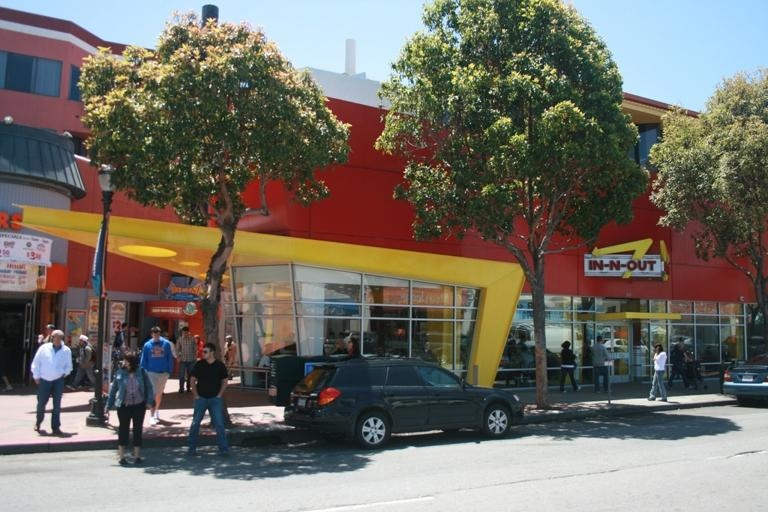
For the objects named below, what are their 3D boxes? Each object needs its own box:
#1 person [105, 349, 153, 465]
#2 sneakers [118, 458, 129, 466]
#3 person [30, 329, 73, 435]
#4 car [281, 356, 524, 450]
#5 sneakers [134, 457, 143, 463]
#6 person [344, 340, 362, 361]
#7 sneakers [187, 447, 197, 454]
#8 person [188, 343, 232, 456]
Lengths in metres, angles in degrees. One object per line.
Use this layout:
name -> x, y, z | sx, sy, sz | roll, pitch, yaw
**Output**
person -> -6.389, 3.869, 18.180 | 1.040, 2.719, 0.961 | 5, -10, -21
sneakers -> -6.356, 5.074, 17.654 | 0.224, 0.150, 0.379 | 5, -12, -23
person -> -9.322, 3.525, 20.188 | 1.004, 2.938, 1.219 | 5, -11, -24
car -> 0.712, 3.958, 21.068 | 6.046, 2.014, 2.520 | 0, -5, -23
sneakers -> -6.029, 5.096, 17.804 | 0.096, 0.105, 0.262 | 1, 1, -3
person -> -1.001, 3.131, 23.829 | 0.577, 0.807, 0.783 | 1, -4, 23
sneakers -> -4.953, 5.086, 18.690 | 0.227, 0.187, 0.317 | 4, -11, -16
person -> -4.526, 3.734, 18.847 | 0.996, 2.842, 0.526 | 4, -10, -16
